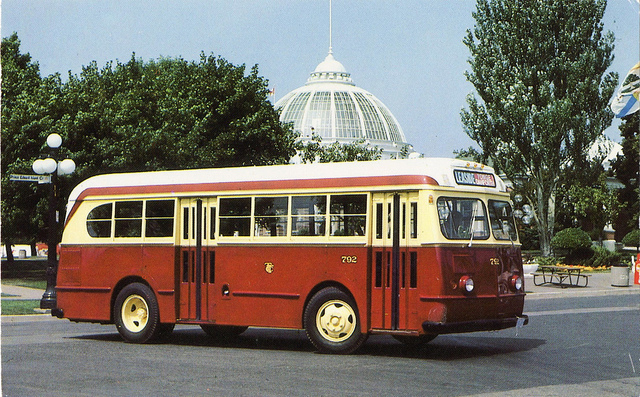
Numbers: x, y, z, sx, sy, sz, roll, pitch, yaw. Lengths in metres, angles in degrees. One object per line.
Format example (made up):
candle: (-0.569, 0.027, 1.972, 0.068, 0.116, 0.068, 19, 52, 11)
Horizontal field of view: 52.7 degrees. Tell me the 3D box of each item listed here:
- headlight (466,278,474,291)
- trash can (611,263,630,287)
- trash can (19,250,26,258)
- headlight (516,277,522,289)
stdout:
headlight: (3.411, 1.948, 14.679, 0.262, 0.280, 0.071, 8, -12, -43)
trash can: (14.567, 3.717, 31.358, 0.773, 0.987, 0.807, -1, 5, -12)
trash can: (-35.318, 6.667, 76.226, 0.994, 1.132, 1.068, 0, -2, -11)
headlight: (4.739, 2.032, 15.477, 0.070, 0.255, 0.236, 4, 10, 10)
